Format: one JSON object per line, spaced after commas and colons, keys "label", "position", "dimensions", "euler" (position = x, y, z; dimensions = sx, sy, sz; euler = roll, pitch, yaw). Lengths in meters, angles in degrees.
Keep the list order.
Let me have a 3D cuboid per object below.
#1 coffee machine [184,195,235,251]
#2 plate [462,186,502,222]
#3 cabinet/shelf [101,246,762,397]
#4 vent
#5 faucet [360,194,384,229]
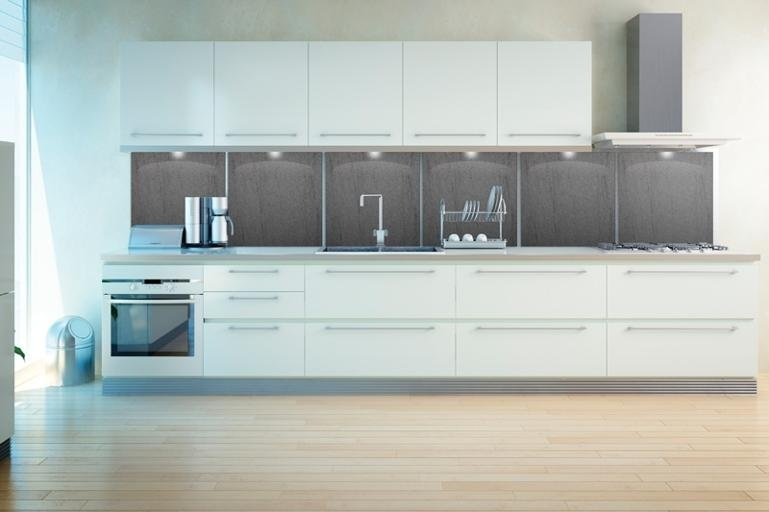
{"label": "coffee machine", "position": [-1.524, -0.303, 5.700], "dimensions": [0.426, 0.439, 0.262], "euler": [-3, 5, -11]}
{"label": "plate", "position": [0.859, -0.447, 5.728], "dimensions": [0.370, 0.298, 0.248], "euler": [-1, 5, 7]}
{"label": "cabinet/shelf", "position": [0.370, 0.467, 5.213], "dimensions": [5.089, 1.091, 0.522], "euler": [-1, 5, 5]}
{"label": "vent", "position": [2.349, -1.521, 5.702], "dimensions": [1.434, 1.041, 1.229], "euler": [-10, 19, -9]}
{"label": "faucet", "position": [-0.108, -0.388, 5.771], "dimensions": [0.209, 0.307, 0.159], "euler": [-3, 5, -2]}
